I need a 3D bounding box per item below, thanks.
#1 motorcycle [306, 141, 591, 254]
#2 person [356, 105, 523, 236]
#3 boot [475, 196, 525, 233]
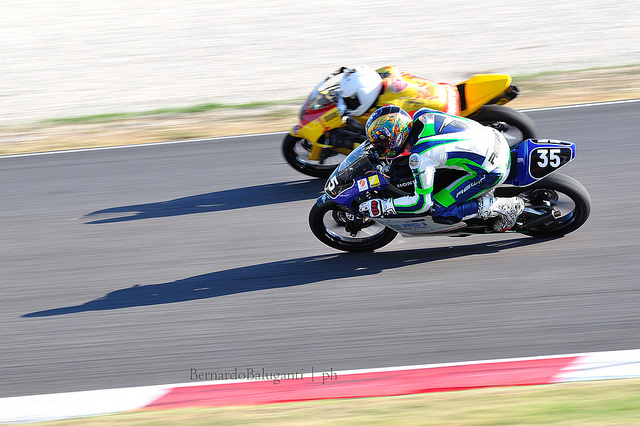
[{"bbox_3d":[1.832,-0.164,8.637,3.883,0.912,1.116,-6,-8,26],"label":"motorcycle"},{"bbox_3d":[1.616,-0.518,8.417,1.954,1.815,0.636,-3,18,6],"label":"person"},{"bbox_3d":[2.341,0.016,8.415,0.629,0.491,0.166,-3,18,6],"label":"boot"}]
